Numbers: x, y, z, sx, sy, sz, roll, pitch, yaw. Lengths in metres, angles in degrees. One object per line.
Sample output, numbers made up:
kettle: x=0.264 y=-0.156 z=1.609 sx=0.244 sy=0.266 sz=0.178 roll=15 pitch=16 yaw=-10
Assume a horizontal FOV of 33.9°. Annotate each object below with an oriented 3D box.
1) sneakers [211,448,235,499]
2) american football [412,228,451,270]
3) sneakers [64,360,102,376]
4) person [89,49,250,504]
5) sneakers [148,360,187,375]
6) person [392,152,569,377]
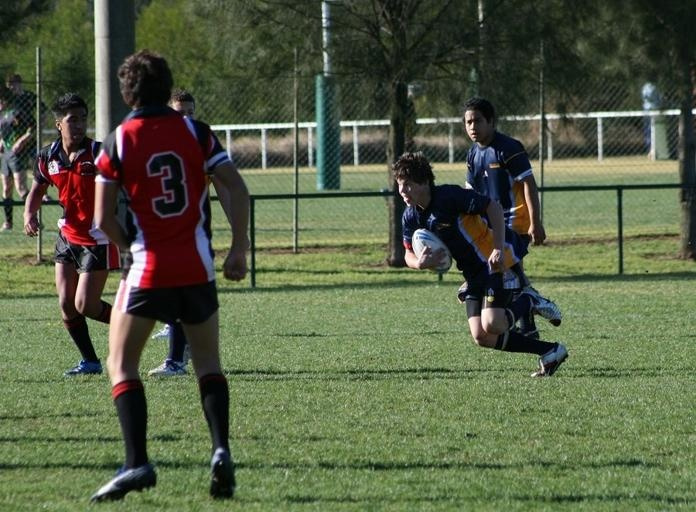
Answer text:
sneakers: x=-0.887 y=1.518 z=8.080 sx=0.136 sy=0.377 sz=0.170 roll=-1 pitch=1 yaw=-3
american football: x=0.711 y=-0.044 z=9.821 sx=0.216 sy=0.358 sz=0.244 roll=-43 pitch=-8 yaw=-8
sneakers: x=-2.352 y=0.967 z=10.140 sx=0.329 sy=0.155 sz=0.125 roll=3 pitch=0 yaw=-12
person: x=-1.345 y=0.101 z=8.514 sx=1.102 sy=3.168 sz=0.884 roll=-2 pitch=0 yaw=-12
sneakers: x=-1.576 y=0.972 z=10.036 sx=0.352 sy=0.165 sz=0.134 roll=2 pitch=-3 yaw=-7
person: x=1.104 y=0.076 z=9.925 sx=1.419 sy=1.910 sz=0.499 roll=0 pitch=13 yaw=1
